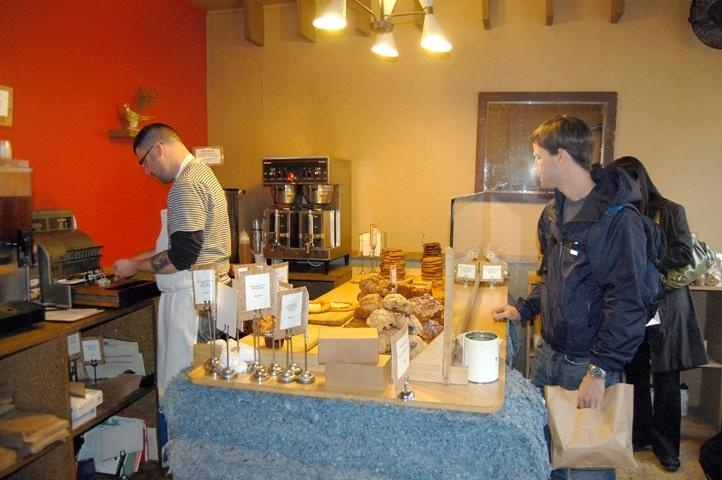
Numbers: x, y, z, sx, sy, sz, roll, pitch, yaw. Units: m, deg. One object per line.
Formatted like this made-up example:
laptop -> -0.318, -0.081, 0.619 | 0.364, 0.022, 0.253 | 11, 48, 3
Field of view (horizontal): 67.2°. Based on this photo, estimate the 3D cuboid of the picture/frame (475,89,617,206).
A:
picture/frame -> 1.474, -0.775, 4.268 | 1.321, 1.063, 0.095 | 0, 3, 10

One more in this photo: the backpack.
backpack -> 1.319, 0.134, 3.007 | 0.411, 0.624, 0.731 | -6, 1, -3

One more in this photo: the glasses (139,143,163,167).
glasses -> -1.411, -0.573, 3.621 | 0.206, 0.153, 0.072 | 4, 8, 35

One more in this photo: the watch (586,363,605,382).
watch -> 1.222, 0.685, 2.822 | 0.085, 0.067, 0.068 | 2, 7, 22

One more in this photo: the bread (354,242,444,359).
bread -> 0.244, 0.377, 3.447 | 0.505, 0.235, 0.747 | 0, 10, 6

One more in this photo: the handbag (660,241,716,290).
handbag -> 2.302, 0.181, 3.850 | 0.280, 0.288, 0.152 | 28, -21, -20
